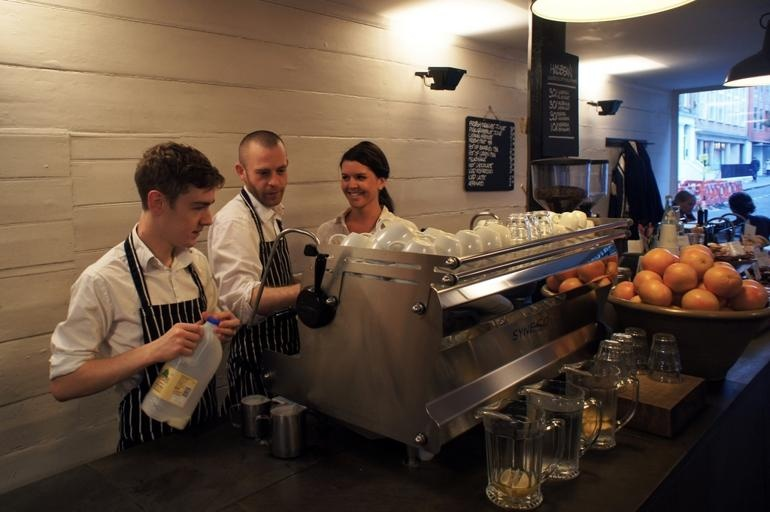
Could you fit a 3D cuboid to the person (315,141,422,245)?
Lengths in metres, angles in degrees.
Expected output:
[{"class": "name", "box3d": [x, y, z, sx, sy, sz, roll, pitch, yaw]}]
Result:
[{"class": "person", "box3d": [-0.091, -0.368, 3.366, 0.860, 0.773, 0.622, -2, -1, 12]}]

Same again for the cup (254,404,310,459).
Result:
[{"class": "cup", "box3d": [-0.324, 0.592, 1.709, 0.189, 0.154, 0.111, -2, 4, -27]}]

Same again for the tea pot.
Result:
[{"class": "tea pot", "box3d": [0.414, 0.590, 1.528, 0.238, 0.292, 0.181, 3, 12, 20]}]

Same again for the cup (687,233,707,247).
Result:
[{"class": "cup", "box3d": [2.016, -0.102, 3.258, 0.119, 0.094, 0.129, 0, -3, 0]}]

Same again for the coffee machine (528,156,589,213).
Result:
[{"class": "coffee machine", "box3d": [0.750, -0.317, 2.307, 0.250, 0.259, 0.254, -4, 5, -30]}]

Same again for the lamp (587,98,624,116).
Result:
[{"class": "lamp", "box3d": [2.726, -1.789, 6.232, 0.321, 0.140, 0.282, 2, 4, 30]}]

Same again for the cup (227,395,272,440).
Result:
[{"class": "cup", "box3d": [-0.483, 0.580, 1.867, 0.201, 0.155, 0.114, -1, 6, -20]}]

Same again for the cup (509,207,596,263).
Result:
[{"class": "cup", "box3d": [0.632, -0.078, 1.910, 0.296, 0.110, 0.175, -9, 4, -31]}]

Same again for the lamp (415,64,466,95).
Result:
[{"class": "lamp", "box3d": [0.442, -1.504, 4.281, 0.396, 0.176, 0.295, -3, 11, -14]}]

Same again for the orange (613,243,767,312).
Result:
[{"class": "orange", "box3d": [1.296, 0.120, 2.109, 0.387, 0.153, 0.372, -1, 0, 19]}]

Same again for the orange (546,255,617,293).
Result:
[{"class": "orange", "box3d": [0.779, 0.074, 2.020, 0.196, 0.069, 0.094, -23, 9, -1]}]
